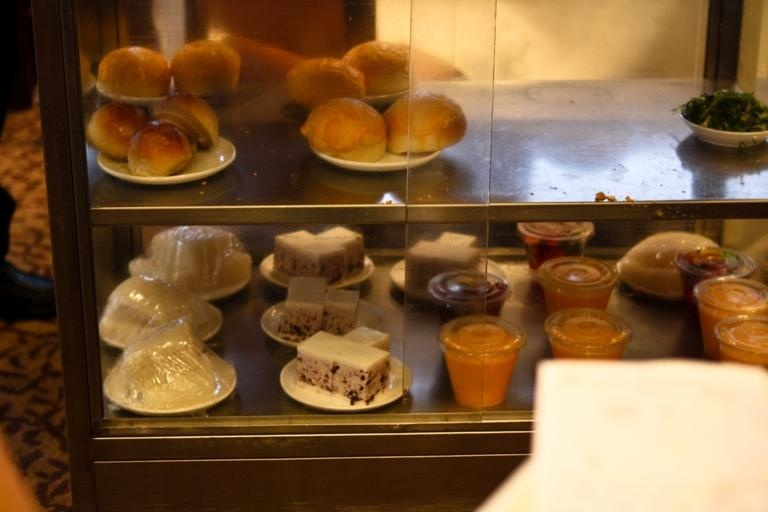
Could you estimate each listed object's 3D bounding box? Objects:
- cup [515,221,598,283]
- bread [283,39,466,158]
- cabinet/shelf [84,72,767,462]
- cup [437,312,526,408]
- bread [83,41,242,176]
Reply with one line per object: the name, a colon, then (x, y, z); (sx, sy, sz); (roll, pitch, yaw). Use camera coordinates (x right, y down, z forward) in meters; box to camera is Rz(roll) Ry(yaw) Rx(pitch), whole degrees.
cup: (0.399, -0.034, 1.560); (0.153, 0.115, 0.154); (-3, 23, 1)
bread: (-0.015, -0.279, 1.306); (0.260, 0.087, 0.262); (-1, 40, 3)
cabinet/shelf: (0.078, 0.023, 1.296); (0.809, 0.684, 0.280); (-2, 44, -2)
cup: (0.191, 0.195, 1.349); (0.179, 0.133, 0.177); (-1, 21, 1)
bread: (-0.423, -0.261, 1.291); (0.264, 0.095, 0.255); (-16, 58, -20)
